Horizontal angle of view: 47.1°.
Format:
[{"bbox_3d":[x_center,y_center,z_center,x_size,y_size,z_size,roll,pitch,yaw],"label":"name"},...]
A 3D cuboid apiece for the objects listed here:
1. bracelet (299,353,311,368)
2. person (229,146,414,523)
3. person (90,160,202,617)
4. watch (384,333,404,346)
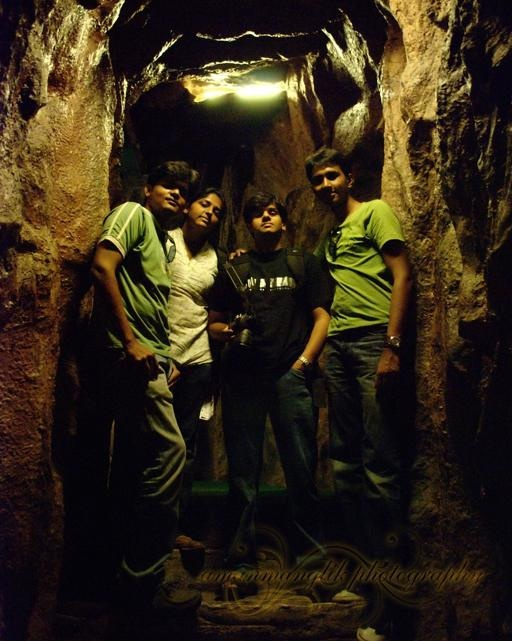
[{"bbox_3d":[0.288,0.230,3.380,0.075,0.048,0.075,23,-27,32],"label":"bracelet"},{"bbox_3d":[0.592,-0.017,3.373,0.247,2.140,0.712,9,-7,-39],"label":"person"},{"bbox_3d":[-0.568,0.378,2.985,0.645,2.000,0.409,7,-5,-18],"label":"person"},{"bbox_3d":[0.715,0.098,3.100,0.059,0.046,0.076,2,-5,1],"label":"watch"}]
